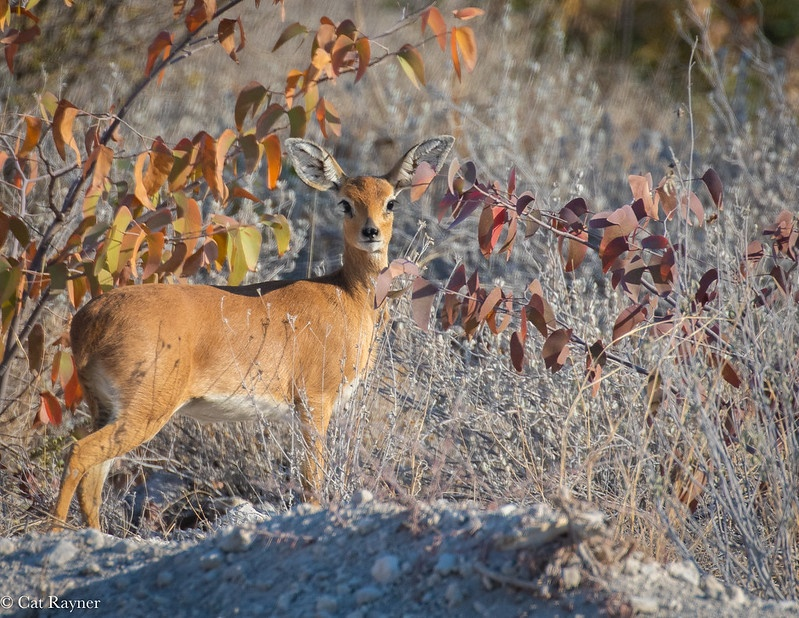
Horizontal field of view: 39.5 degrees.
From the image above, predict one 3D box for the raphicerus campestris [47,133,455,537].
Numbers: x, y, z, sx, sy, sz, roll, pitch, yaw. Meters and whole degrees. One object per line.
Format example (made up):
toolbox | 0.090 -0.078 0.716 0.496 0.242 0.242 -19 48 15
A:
raphicerus campestris | -1.009 0.193 8.469 2.792 3.263 1.536 -3 11 -24
